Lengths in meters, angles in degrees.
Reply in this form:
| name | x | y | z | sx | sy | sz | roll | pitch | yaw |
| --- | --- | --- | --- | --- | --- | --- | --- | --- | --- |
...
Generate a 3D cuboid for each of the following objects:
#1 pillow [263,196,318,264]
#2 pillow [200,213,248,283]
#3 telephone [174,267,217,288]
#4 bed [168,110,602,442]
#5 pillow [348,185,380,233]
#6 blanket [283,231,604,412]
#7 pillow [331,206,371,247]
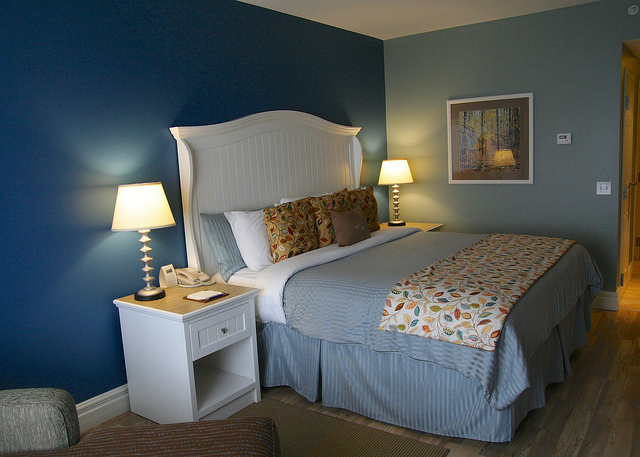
| name | x | y | z | sx | sy | sz | roll | pitch | yaw |
| --- | --- | --- | --- | --- | --- | --- | --- | --- | --- |
| pillow | -0.206 | -0.014 | 4.239 | 0.471 | 0.582 | 0.164 | -14 | 28 | -17 |
| pillow | -0.845 | 0.150 | 4.027 | 0.312 | 0.586 | 0.227 | 9 | 18 | 40 |
| telephone | -1.042 | 0.405 | 3.753 | 0.315 | 0.128 | 0.187 | 1 | 14 | 15 |
| bed | 0.646 | 0.341 | 4.301 | 3.170 | 2.273 | 2.730 | 5 | 14 | 30 |
| pillow | 0.510 | -0.252 | 5.012 | 0.534 | 0.503 | 0.131 | 21 | -35 | -35 |
| blanket | 0.681 | 0.633 | 3.297 | 1.474 | 0.380 | 1.572 | 6 | 16 | 32 |
| pillow | 0.306 | -0.034 | 4.516 | 0.188 | 0.381 | 0.534 | -5 | 6 | 40 |
